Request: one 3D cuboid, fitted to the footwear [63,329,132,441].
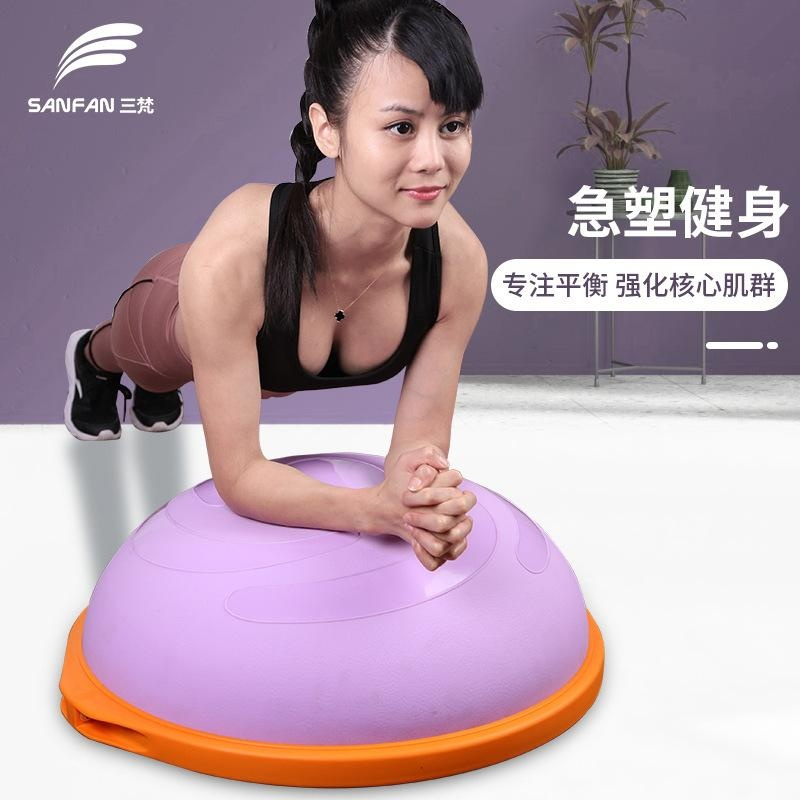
[{"bbox_3d":[-0.890,-0.014,2.355,0.163,0.402,0.176,-6,1,-40],"label":"footwear"}]

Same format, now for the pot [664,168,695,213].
[{"bbox_3d":[1.448,-1.077,4.232,0.101,0.226,0.190,4,9,15],"label":"pot"}]

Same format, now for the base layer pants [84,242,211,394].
[{"bbox_3d":[-0.579,-0.148,1.826,0.195,0.252,0.488,9,-18,-40],"label":"base layer pants"}]

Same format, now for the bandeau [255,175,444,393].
[{"bbox_3d":[-0.108,-0.146,1.296,0.331,0.310,0.300,1,1,-39],"label":"bandeau"}]

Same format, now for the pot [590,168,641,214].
[{"bbox_3d":[1.094,-1.076,4.212,0.229,0.244,0.228,-1,7,0],"label":"pot"}]

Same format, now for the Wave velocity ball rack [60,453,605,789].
[{"bbox_3d":[-0.109,0.304,1.111,0.786,0.289,0.396,3,9,9],"label":"Wave velocity ball rack"}]
